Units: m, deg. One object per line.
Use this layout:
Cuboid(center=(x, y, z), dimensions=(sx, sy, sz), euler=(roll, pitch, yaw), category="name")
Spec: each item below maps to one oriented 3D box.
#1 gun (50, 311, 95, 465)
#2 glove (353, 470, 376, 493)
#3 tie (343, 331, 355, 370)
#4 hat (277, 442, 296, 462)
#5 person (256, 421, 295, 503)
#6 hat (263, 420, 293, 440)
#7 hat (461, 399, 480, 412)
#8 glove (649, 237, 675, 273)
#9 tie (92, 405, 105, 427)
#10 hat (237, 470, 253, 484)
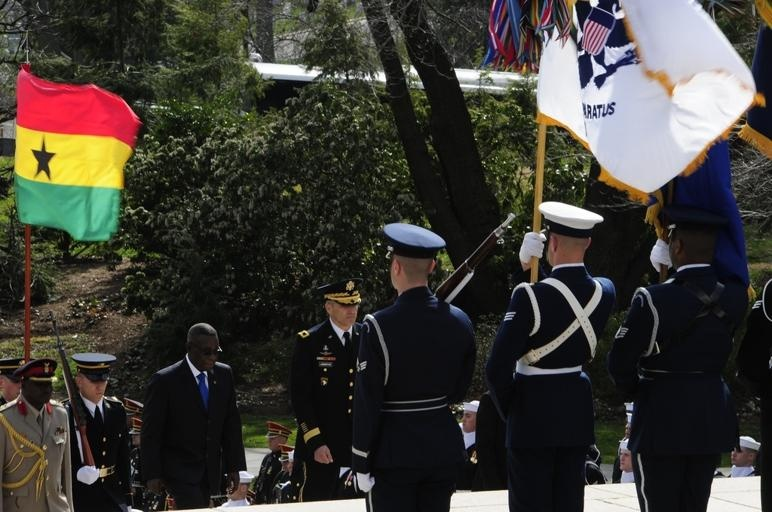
Cuboid(center=(-5.030, 2.115, 22.238), dimensions=(0.078, 2.168, 0.400), euler=(-14, -1, -26), category="gun")
Cuboid(center=(-0.269, 2.824, 17.422), dimensions=(0.248, 0.274, 0.196), euler=(-1, 4, 0), category="glove")
Cuboid(center=(-0.505, 1.323, 19.643), dimensions=(0.090, 0.433, 0.232), euler=(2, -2, -1), category="tie")
Cuboid(center=(-1.548, 3.087, 21.886), dimensions=(0.406, 0.209, 0.301), euler=(0, -4, 32), category="hat")
Cuboid(center=(-1.826, 3.408, 22.783), dimensions=(0.495, 1.759, 0.587), euler=(12, -23, -13), category="person")
Cuboid(center=(-1.775, 2.829, 22.634), dimensions=(0.519, 0.311, 0.479), euler=(5, -8, -7), category="hat")
Cuboid(center=(1.305, 2.314, 21.494), dimensions=(0.370, 0.197, 0.506), euler=(3, -9, 2), category="hat")
Cuboid(center=(3.533, -0.011, 17.959), dimensions=(0.244, 0.383, 0.138), euler=(4, 1, 14), category="glove")
Cuboid(center=(-3.967, 2.214, 19.209), dimensions=(0.117, 0.239, 0.052), euler=(2, -19, -38), category="tie")
Cuboid(center=(-2.051, 3.197, 20.082), dimensions=(0.221, 0.092, 0.199), euler=(7, -2, 11), category="hat")
